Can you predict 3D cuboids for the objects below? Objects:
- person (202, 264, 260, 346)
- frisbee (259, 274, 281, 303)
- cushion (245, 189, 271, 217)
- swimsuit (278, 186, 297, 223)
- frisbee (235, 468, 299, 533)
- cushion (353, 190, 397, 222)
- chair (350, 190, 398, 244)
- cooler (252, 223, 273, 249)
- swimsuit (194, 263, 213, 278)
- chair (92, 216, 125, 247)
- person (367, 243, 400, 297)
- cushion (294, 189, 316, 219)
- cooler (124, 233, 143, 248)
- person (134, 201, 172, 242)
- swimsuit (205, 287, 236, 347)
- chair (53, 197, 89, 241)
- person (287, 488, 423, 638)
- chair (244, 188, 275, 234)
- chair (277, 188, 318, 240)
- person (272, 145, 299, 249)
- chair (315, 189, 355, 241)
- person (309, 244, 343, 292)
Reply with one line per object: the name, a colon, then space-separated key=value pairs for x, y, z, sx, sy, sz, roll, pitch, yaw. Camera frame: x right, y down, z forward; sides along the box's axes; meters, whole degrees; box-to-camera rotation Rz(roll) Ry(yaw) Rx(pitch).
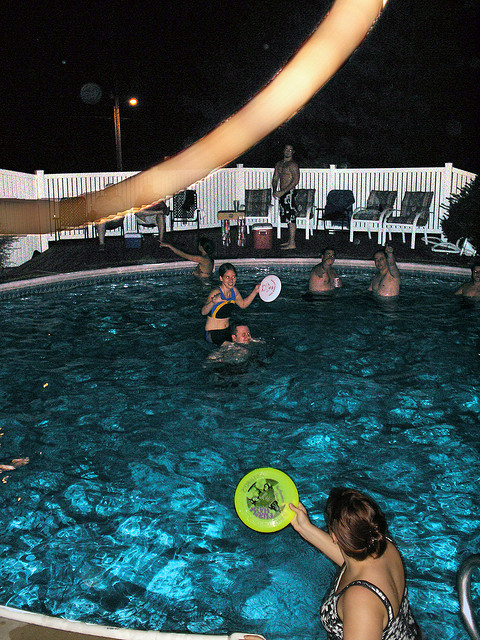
person: x=-0.158 y=-0.167 z=6.195 sx=0.643 sy=1.078 sz=0.704 roll=-3 pitch=8 yaw=-5
frisbee: x=0.419 y=-0.423 z=6.658 sx=0.242 sy=0.350 sz=0.501 roll=1 pitch=8 yaw=20
cushion: x=0.636 y=-3.910 z=16.271 sx=0.836 sy=0.988 sz=1.110 roll=-2 pitch=8 yaw=0
swimsuit: x=1.379 y=-3.335 z=14.235 sx=0.655 sy=1.023 sz=0.593 roll=2 pitch=9 yaw=29
frisbee: x=0.151 y=1.018 z=2.713 sx=0.408 sy=0.383 sz=0.128 roll=4 pitch=10 yaw=36
cushion: x=4.203 y=-3.602 z=14.973 sx=0.924 sy=0.866 sz=1.623 roll=11 pitch=23 yaw=29
chair: x=4.252 y=-3.250 z=15.289 sx=0.989 sy=1.598 sz=1.194 roll=14 pitch=21 yaw=39
cooler: x=0.672 y=-2.409 z=14.115 sx=0.522 sy=0.721 sz=0.529 roll=-1 pitch=8 yaw=6
swimsuit: x=-0.850 y=-1.102 z=10.911 sx=0.227 sy=0.414 sz=0.291 roll=-8 pitch=22 yaw=-25
chair: x=-4.414 y=-2.981 z=16.308 sx=1.089 sy=0.875 sz=1.585 roll=-4 pitch=8 yaw=-15
person: x=2.689 y=-0.844 z=9.023 sx=0.526 sy=0.872 sz=1.100 roll=0 pitch=8 yaw=15
cushion: x=2.049 y=-3.762 z=15.231 sx=0.686 sy=0.951 sz=0.951 roll=3 pitch=51 yaw=8
cooler: x=-3.253 y=-2.399 z=14.762 sx=0.440 sy=0.329 sz=0.445 roll=-1 pitch=11 yaw=-2
person: x=-2.681 y=-3.095 z=15.248 sx=1.122 sy=1.197 sz=1.401 roll=-4 pitch=8 yaw=-12
swimsuit: x=-0.252 y=-0.044 z=6.280 sx=0.369 sy=0.733 sz=0.372 roll=-5 pitch=8 yaw=-31
chair: x=-5.565 y=-3.338 z=15.799 sx=1.327 sy=1.684 sz=1.075 roll=-1 pitch=22 yaw=-9
person: x=0.455 y=1.018 z=1.998 sx=0.432 sy=0.409 sz=0.790 roll=12 pitch=-29 yaw=21
chair: x=0.562 y=-3.544 z=16.163 sx=1.059 sy=1.588 sz=1.216 roll=3 pitch=14 yaw=12
chair: x=1.936 y=-3.507 z=15.519 sx=1.126 sy=1.884 sz=1.031 roll=10 pitch=17 yaw=39
person: x=1.345 y=-3.559 z=14.266 sx=0.747 sy=2.956 sz=1.220 roll=-1 pitch=8 yaw=4
chair: x=2.968 y=-3.327 z=15.358 sx=1.003 sy=1.507 sz=1.179 roll=10 pitch=19 yaw=33
person: x=1.690 y=-0.958 z=9.373 sx=0.637 sy=0.870 sz=0.981 roll=-2 pitch=8 yaw=2
